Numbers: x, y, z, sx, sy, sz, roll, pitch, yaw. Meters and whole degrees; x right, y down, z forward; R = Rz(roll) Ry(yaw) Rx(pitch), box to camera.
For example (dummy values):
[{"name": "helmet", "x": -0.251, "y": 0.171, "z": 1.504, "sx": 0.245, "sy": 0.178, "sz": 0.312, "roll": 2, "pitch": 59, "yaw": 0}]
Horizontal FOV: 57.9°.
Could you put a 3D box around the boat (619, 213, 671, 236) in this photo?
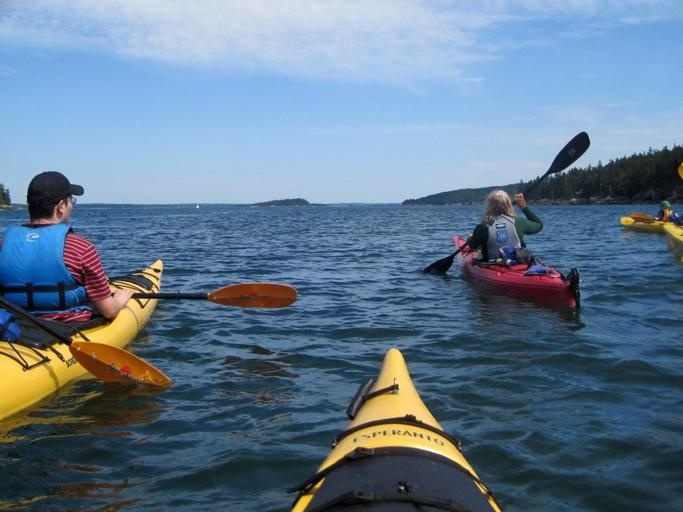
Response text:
[{"name": "boat", "x": 10.387, "y": -1.065, "z": 20.823, "sx": 0.893, "sy": 0.361, "sz": 2.267, "roll": -1, "pitch": 7, "yaw": 2}]

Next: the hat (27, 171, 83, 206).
[{"name": "hat", "x": -2.663, "y": -0.664, "z": 5.635, "sx": 0.349, "sy": 0.210, "sz": 0.499, "roll": 27, "pitch": 38, "yaw": 36}]
